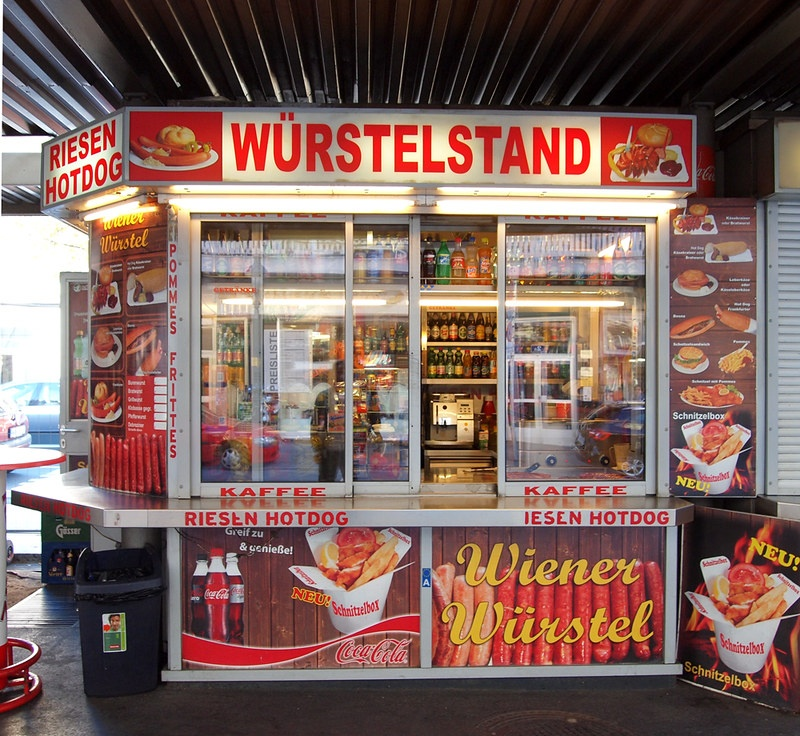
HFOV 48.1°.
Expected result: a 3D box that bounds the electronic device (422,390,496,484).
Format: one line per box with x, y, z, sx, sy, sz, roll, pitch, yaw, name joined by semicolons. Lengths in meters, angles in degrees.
0.434;0.539;6.731;0.471;0.681;0.370;1;-5;-4;electronic device
